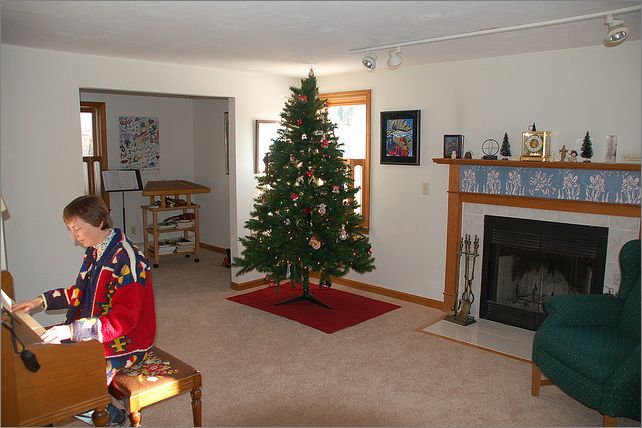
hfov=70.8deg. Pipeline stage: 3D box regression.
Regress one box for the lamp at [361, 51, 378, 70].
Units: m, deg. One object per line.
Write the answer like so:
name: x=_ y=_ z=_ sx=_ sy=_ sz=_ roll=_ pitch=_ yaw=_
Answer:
lamp: x=0.515 y=-1.630 z=4.896 sx=0.188 sy=0.211 sz=0.235 roll=4 pitch=-2 yaw=3

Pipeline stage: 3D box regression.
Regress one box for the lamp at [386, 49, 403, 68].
lamp: x=0.772 y=-1.650 z=4.784 sx=0.125 sy=0.172 sz=0.327 roll=1 pitch=14 yaw=6

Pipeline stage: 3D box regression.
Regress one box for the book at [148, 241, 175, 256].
book: x=-2.687 y=0.567 z=7.694 sx=0.295 sy=0.069 sz=0.292 roll=-7 pitch=15 yaw=-39

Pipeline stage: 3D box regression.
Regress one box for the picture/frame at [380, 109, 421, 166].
picture/frame: x=1.069 y=-1.025 z=5.966 sx=0.751 sy=0.905 sz=0.063 roll=3 pitch=3 yaw=41

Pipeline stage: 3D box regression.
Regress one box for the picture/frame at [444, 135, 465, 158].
picture/frame: x=1.615 y=-0.828 z=5.507 sx=0.265 sy=0.322 sz=0.113 roll=6 pitch=7 yaw=43

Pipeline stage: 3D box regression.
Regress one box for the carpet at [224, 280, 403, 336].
carpet: x=-0.080 y=1.190 z=6.024 sx=1.937 sy=0.081 sz=1.231 roll=10 pitch=18 yaw=35

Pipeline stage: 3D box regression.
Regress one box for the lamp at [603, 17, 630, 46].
lamp: x=2.455 y=-1.536 z=3.766 sx=0.175 sy=0.228 sz=0.233 roll=10 pitch=17 yaw=34
